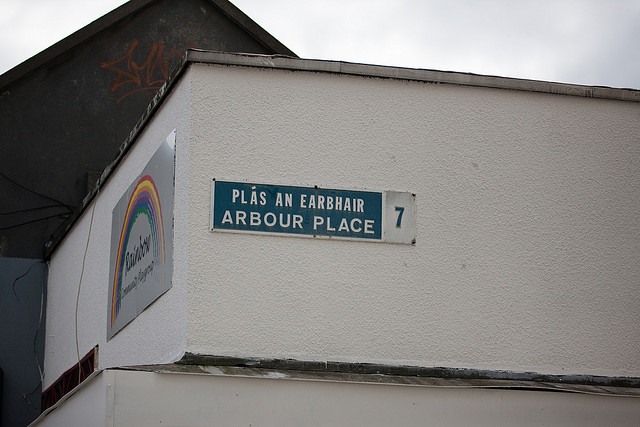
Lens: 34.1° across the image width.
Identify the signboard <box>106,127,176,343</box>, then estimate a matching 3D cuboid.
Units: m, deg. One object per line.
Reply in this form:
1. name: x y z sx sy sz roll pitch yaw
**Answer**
1. signboard: -2.059 0.316 12.042 0.045 1.425 2.380 8 -25 -21
